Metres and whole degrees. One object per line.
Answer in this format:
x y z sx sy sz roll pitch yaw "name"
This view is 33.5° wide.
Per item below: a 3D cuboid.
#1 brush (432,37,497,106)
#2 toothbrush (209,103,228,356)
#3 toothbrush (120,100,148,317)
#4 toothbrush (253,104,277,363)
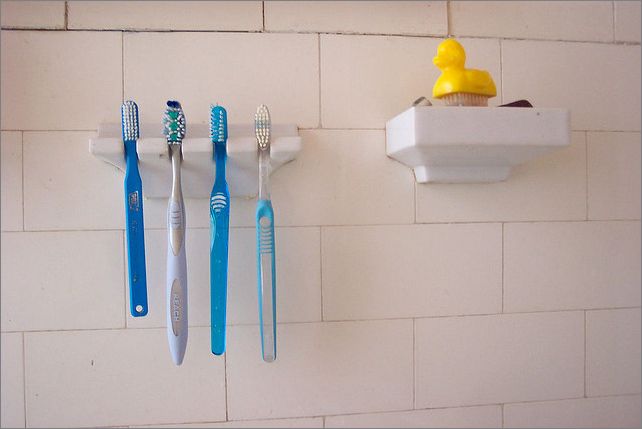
0.339 -0.325 2.504 0.165 0.159 0.115 0 2 -27 "brush"
-0.246 0.041 2.413 0.053 0.522 0.060 -1 1 -11 "toothbrush"
-0.425 -0.004 2.460 0.052 0.521 0.058 -2 3 -22 "toothbrush"
-0.132 0.044 2.445 0.057 0.550 0.044 -2 1 -10 "toothbrush"
